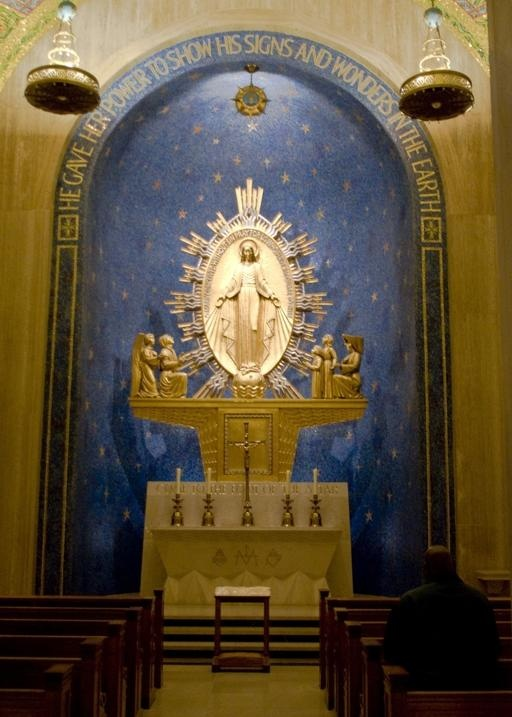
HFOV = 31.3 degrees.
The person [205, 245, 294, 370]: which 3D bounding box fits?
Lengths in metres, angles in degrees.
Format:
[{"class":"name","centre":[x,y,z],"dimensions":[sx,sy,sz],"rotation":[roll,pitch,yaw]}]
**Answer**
[{"class":"person","centre":[-0.071,-0.484,9.384],"dimensions":[1.070,1.791,0.307],"rotation":[0,-9,-5]}]

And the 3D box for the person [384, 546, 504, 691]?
[{"class":"person","centre":[0.767,1.060,3.745],"dimensions":[0.465,0.762,0.398],"rotation":[-1,-17,8]}]

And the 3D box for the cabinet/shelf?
[{"class":"cabinet/shelf","centre":[-0.105,1.902,6.354],"dimensions":[0.403,0.641,0.541],"rotation":[1,-19,-1]}]

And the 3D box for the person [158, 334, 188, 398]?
[{"class":"person","centre":[-0.821,0.089,9.009],"dimensions":[0.305,0.754,0.287],"rotation":[-7,-29,5]}]
